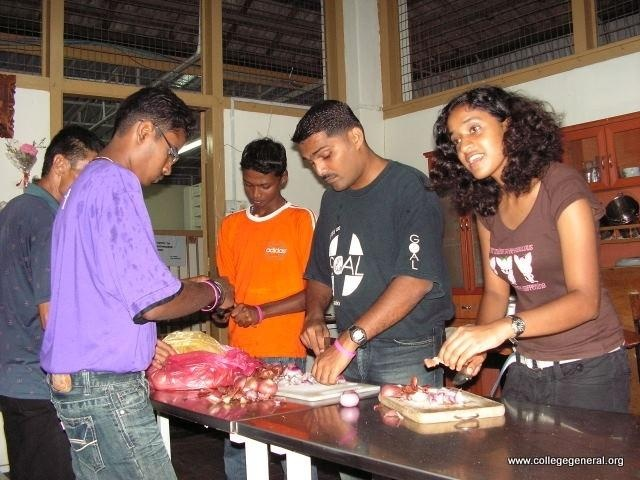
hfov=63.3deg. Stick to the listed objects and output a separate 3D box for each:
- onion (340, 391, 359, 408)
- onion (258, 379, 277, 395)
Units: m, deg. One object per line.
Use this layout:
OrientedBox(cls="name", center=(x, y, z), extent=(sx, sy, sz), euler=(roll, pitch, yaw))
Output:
OrientedBox(cls="onion", center=(0.101, 0.546, 1.781), extent=(0.051, 0.035, 0.050), euler=(0, -13, -1))
OrientedBox(cls="onion", center=(-0.195, 0.548, 1.943), extent=(0.055, 0.052, 0.055), euler=(-3, -25, 15))
